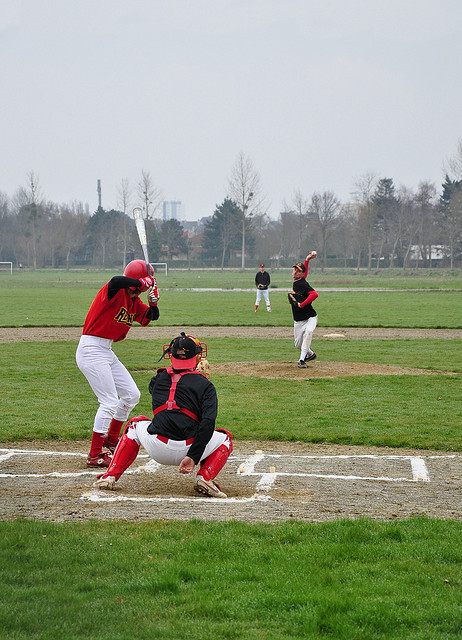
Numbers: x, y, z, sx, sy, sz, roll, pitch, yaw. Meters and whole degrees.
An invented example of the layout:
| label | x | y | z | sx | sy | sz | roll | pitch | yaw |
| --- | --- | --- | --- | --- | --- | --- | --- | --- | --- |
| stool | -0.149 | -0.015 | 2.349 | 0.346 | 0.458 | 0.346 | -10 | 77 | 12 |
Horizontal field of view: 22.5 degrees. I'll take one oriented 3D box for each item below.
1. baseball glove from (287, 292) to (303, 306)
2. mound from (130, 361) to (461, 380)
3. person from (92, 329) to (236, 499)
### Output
| label | x | y | z | sx | sy | sz | roll | pitch | yaw |
| --- | --- | --- | --- | --- | --- | --- | --- | --- | --- |
| baseball glove | 0.889 | -0.285 | 16.155 | 0.166 | 0.158 | 0.144 | -2 | 8 | 29 |
| mound | 1.266 | 0.694 | 16.144 | 3.075 | 0.136 | 1.926 | 1 | 1 | -1 |
| person | -0.413 | 0.744 | 9.238 | 1.007 | 1.400 | 1.271 | 4 | 2 | -4 |
